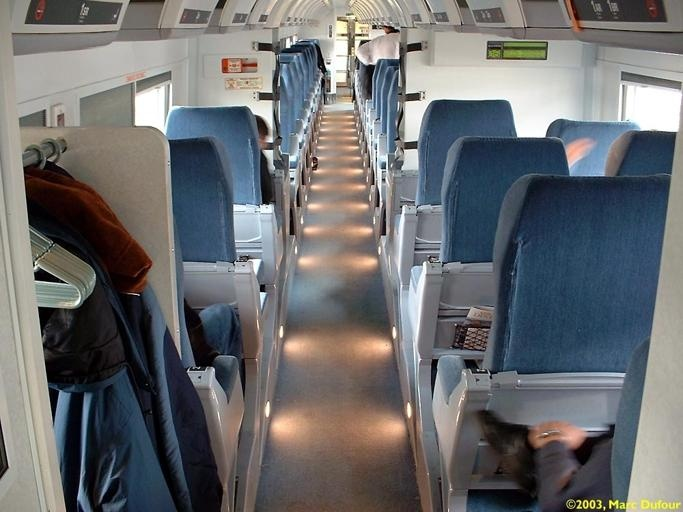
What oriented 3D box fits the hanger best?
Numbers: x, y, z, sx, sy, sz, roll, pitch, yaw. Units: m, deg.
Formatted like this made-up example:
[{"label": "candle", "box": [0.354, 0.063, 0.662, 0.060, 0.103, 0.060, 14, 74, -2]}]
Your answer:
[{"label": "hanger", "box": [-0.762, 0.046, 1.567, 0.201, 0.209, 0.094, 9, -30, -2]}]
